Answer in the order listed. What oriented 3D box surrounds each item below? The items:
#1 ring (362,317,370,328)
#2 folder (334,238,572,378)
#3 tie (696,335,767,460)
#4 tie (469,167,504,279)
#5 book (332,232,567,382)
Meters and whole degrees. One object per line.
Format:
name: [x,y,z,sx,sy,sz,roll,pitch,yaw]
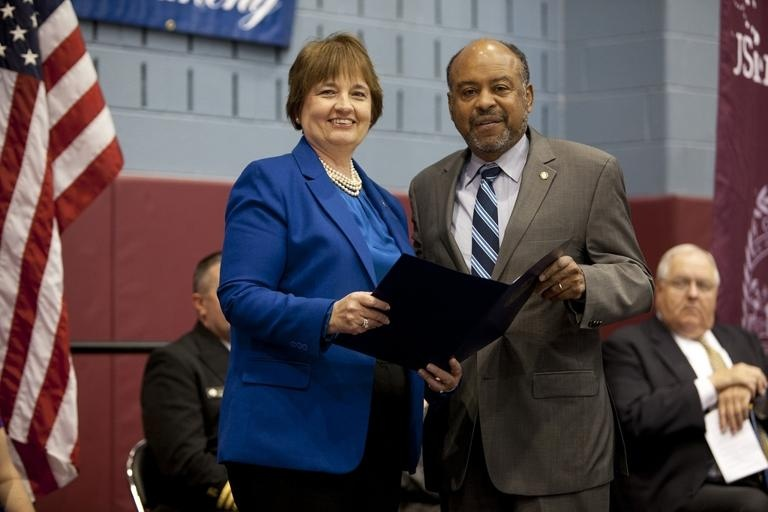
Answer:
ring: [-0.065,0.242,3.248,0.020,0.032,0.011,6,17,15]
folder: [0.178,0.229,3.272,0.686,0.279,0.487,22,-51,-28]
tie: [1.821,0.674,4.595,0.138,0.762,0.186,-15,-12,-11]
tie: [0.419,-0.154,3.742,0.120,0.523,0.051,9,-27,-9]
book: [0.175,0.226,3.272,0.681,0.273,0.484,21,-51,-28]
